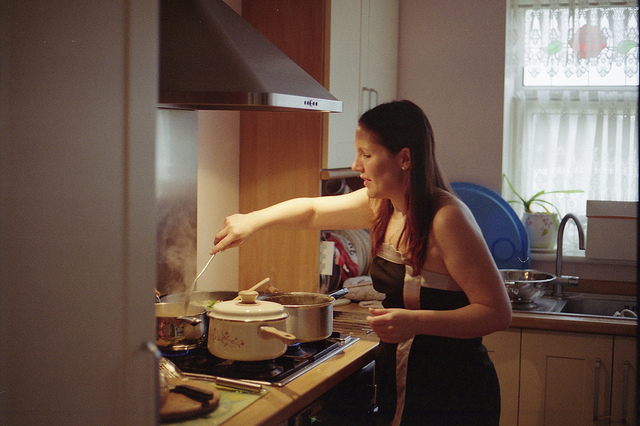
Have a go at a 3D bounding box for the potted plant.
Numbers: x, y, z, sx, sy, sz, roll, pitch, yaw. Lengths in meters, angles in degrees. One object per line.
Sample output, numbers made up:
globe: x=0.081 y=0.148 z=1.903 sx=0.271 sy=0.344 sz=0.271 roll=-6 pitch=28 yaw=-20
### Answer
potted plant: x=1.270 y=0.013 z=3.257 sx=0.491 sy=0.469 sz=0.405 roll=1 pitch=-2 yaw=5

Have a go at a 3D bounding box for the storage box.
storage box: x=1.496 y=0.089 z=2.837 sx=0.300 sy=0.307 sz=0.313 roll=1 pitch=0 yaw=16

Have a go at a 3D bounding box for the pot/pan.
pot/pan: x=-0.245 y=0.339 z=1.685 sx=0.427 sy=0.161 sz=0.283 roll=0 pitch=0 yaw=36

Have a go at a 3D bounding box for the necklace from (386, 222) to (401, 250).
necklace: x=0.257 y=0.081 z=1.875 sx=0.019 sy=0.078 sz=0.056 roll=9 pitch=-13 yaw=-24

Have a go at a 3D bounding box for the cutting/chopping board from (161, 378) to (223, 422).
cutting/chopping board: x=-0.353 y=0.489 z=1.455 sx=0.146 sy=0.060 sz=0.170 roll=6 pitch=7 yaw=42
